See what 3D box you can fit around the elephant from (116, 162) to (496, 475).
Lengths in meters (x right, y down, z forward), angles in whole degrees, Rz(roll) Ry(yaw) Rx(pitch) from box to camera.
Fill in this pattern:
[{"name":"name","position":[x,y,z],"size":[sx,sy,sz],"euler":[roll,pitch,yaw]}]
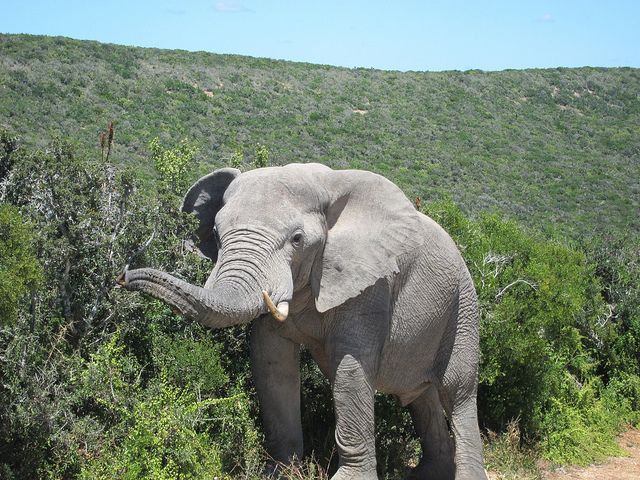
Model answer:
[{"name":"elephant","position":[-0.374,0.979,8.477],"size":[4.690,3.365,3.097],"euler":[19,-25,-38]}]
